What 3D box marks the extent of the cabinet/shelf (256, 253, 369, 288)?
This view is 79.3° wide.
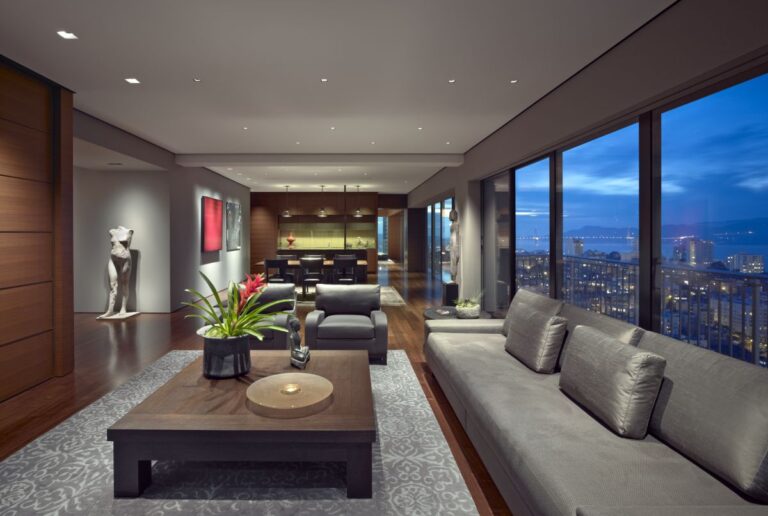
[{"bbox_3d":[-1.741,0.252,11.270,1.609,0.650,1.562,0,1,3],"label":"cabinet/shelf"}]

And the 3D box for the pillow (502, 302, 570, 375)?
[{"bbox_3d":[1.408,0.746,4.428,0.305,0.506,0.839,3,5,-5],"label":"pillow"}]

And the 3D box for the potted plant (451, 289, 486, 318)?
[{"bbox_3d":[1.077,0.531,5.650,0.465,0.374,0.354,-2,-2,25],"label":"potted plant"}]

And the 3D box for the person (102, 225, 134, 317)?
[{"bbox_3d":[-4.549,0.214,7.933,0.482,1.554,0.480,0,2,-27],"label":"person"}]

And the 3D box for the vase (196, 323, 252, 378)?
[{"bbox_3d":[-1.349,0.787,3.955,0.436,0.280,0.428,0,-1,7],"label":"vase"}]

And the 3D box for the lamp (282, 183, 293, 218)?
[{"bbox_3d":[-2.737,-1.562,13.111,0.237,0.762,1.075,0,2,-12],"label":"lamp"}]

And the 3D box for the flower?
[{"bbox_3d":[-1.919,0.586,5.936,1.039,0.699,1.105,3,0,-9],"label":"flower"}]

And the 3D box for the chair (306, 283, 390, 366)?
[{"bbox_3d":[-0.406,0.785,5.570,1.024,0.900,0.911,0,-11,1],"label":"chair"}]

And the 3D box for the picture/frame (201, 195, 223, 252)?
[{"bbox_3d":[-3.638,-0.708,9.954,0.111,1.114,1.145,-1,4,-43],"label":"picture/frame"}]

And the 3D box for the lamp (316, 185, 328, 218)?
[{"bbox_3d":[-1.782,-1.580,13.313,0.304,0.774,0.795,1,2,-8],"label":"lamp"}]

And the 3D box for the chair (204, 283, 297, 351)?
[{"bbox_3d":[-1.458,0.714,5.699,0.942,0.719,0.933,-9,21,-33],"label":"chair"}]

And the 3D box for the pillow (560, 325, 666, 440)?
[{"bbox_3d":[1.688,0.915,3.584,0.344,0.598,0.912,-4,8,-10],"label":"pillow"}]
